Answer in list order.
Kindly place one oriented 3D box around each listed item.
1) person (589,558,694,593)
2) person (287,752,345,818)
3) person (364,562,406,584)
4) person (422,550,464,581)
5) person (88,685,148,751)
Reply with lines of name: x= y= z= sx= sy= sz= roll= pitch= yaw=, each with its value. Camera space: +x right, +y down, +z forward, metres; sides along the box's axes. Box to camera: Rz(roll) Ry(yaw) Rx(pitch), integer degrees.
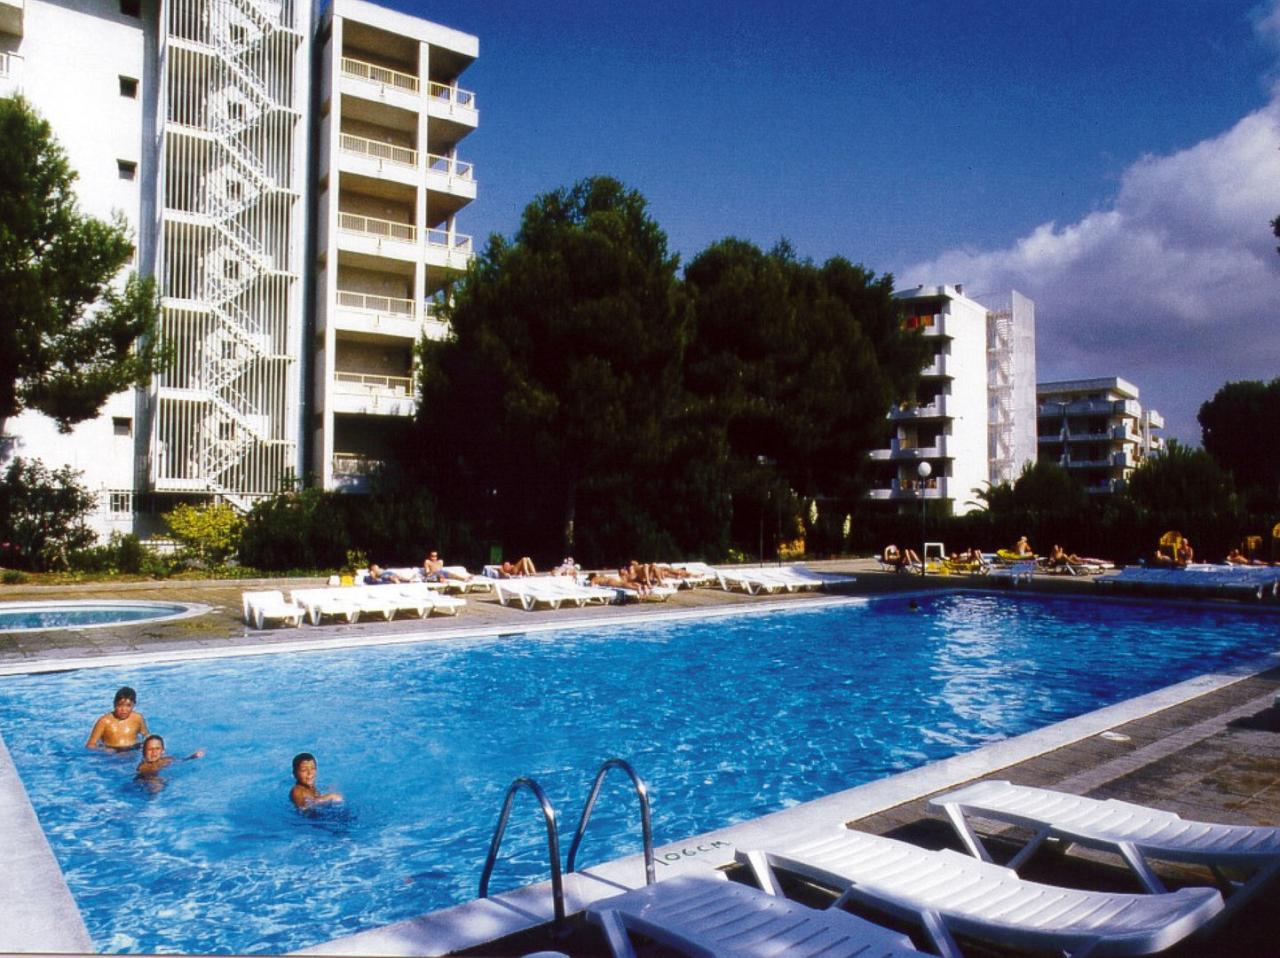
person: x=0.087 y=2.709 z=28.316 sx=1.251 sy=0.508 sz=1.782 roll=3 pitch=5 yaw=26
person: x=-4.405 y=4.079 z=14.389 sx=0.743 sy=0.922 sz=0.627 roll=-3 pitch=0 yaw=25
person: x=-6.379 y=2.464 z=26.173 sx=0.701 sy=0.289 sz=0.736 roll=5 pitch=-1 yaw=-31
person: x=-5.318 y=2.469 z=27.651 sx=1.207 sy=0.722 sz=0.886 roll=7 pitch=10 yaw=43
person: x=-7.461 y=3.510 z=15.359 sx=0.863 sy=1.028 sz=0.512 roll=2 pitch=7 yaw=-45
